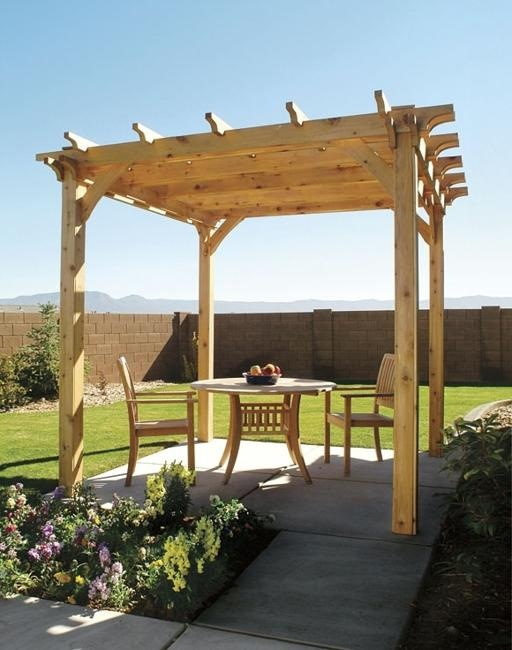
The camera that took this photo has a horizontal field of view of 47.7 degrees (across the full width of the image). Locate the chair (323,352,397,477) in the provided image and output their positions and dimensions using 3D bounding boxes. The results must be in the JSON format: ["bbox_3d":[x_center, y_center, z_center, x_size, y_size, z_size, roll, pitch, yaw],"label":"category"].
[{"bbox_3d":[0.912,0.744,4.975,0.626,0.930,0.737,1,-4,-2],"label":"chair"}]

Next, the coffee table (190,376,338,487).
[{"bbox_3d":[0.095,0.707,4.539,0.955,0.576,0.900,0,-6,4],"label":"coffee table"}]

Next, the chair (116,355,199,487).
[{"bbox_3d":[-0.760,0.726,4.554,0.779,0.856,0.752,2,-5,-36],"label":"chair"}]
